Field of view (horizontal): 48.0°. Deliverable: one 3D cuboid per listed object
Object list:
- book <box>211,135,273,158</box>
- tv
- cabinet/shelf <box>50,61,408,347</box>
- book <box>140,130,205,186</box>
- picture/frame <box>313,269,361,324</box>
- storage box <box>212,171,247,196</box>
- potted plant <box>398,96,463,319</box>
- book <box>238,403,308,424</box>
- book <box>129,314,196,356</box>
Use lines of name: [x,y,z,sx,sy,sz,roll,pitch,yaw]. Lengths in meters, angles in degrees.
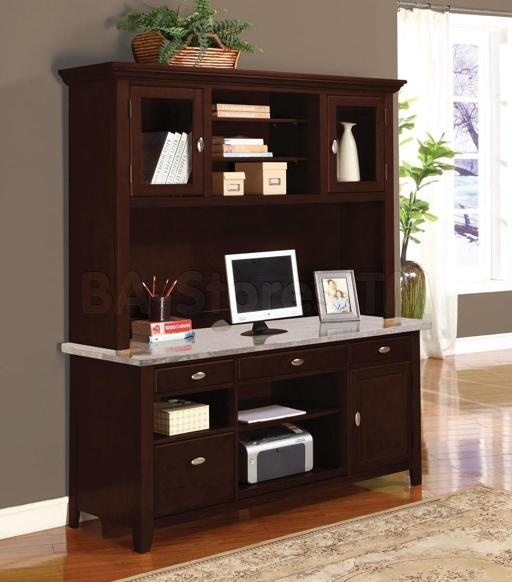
book: [-0.058,-0.620,2.483,0.310,0.126,0.046,0,-4,-42]
tv: [0.029,0.006,2.560,0.404,0.354,0.127,-6,5,-38]
cabinet/shelf: [-0.022,-0.326,2.652,1.487,1.211,0.423,-8,13,-34]
book: [-0.340,-0.501,2.188,0.227,0.194,0.052,-7,10,-43]
picture/frame: [0.397,0.024,2.806,0.281,0.305,0.022,-4,-10,-31]
storage box: [-0.116,-0.454,2.470,0.124,0.087,0.118,4,5,45]
potted plant: [1.608,-0.823,5.448,0.536,2.148,0.843,-3,-3,18]
book: [0.033,0.523,2.451,0.344,0.029,0.223,0,-3,-40]
book: [-0.353,0.155,2.268,0.184,0.082,0.127,-3,3,-43]
